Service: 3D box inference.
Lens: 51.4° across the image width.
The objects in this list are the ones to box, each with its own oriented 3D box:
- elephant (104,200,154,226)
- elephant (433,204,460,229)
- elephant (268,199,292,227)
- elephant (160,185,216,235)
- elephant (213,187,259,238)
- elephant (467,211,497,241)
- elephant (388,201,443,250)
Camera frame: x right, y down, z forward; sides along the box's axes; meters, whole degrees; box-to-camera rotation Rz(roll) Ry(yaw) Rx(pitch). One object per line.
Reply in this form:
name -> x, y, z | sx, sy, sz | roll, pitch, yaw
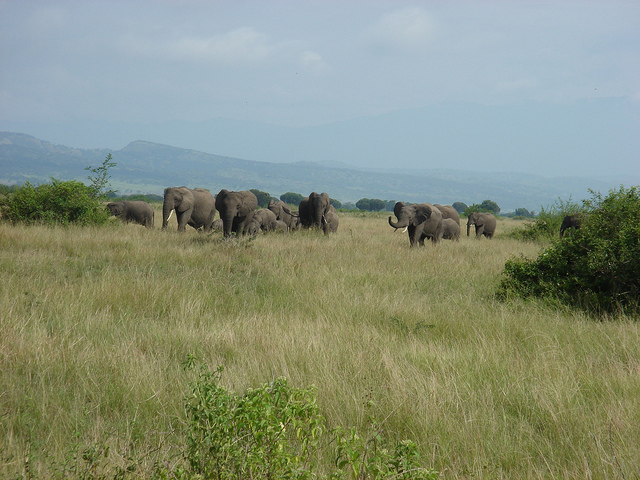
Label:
elephant -> -7.028, -1.043, 24.981 | 0.759, 0.638, 2.219 | 8, 2, 22
elephant -> 4.767, -0.956, 24.990 | 1.293, 0.829, 0.636 | 2, -2, -36
elephant -> -1.717, -1.193, 27.451 | 0.557, 0.766, 1.230 | 0, -5, 19
elephant -> -4.482, -0.914, 22.355 | 0.948, 1.773, 2.863 | 7, 3, 31
elephant -> -2.610, -0.685, 21.411 | 1.198, 1.693, 2.270 | 3, -2, 12
elephant -> 6.727, -0.625, 28.002 | 1.498, 1.228, 0.763 | 8, -4, -34
elephant -> 3.105, -0.389, 21.552 | 2.561, 1.545, 1.217 | -1, 9, -41
